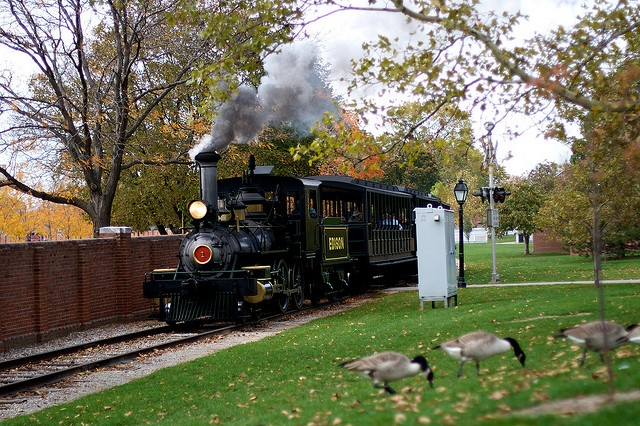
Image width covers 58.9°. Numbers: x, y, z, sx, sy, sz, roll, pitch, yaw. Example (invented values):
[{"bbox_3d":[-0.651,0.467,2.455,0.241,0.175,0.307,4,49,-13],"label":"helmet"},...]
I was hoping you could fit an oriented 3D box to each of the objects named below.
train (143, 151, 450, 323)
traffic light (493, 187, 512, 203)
[{"bbox_3d":[0.457,1.330,24.796,4.158,4.351,18.821,-3,-4,21],"label":"train"},{"bbox_3d":[8.293,-0.860,25.179,0.999,0.665,0.687,0,4,-8],"label":"traffic light"}]
